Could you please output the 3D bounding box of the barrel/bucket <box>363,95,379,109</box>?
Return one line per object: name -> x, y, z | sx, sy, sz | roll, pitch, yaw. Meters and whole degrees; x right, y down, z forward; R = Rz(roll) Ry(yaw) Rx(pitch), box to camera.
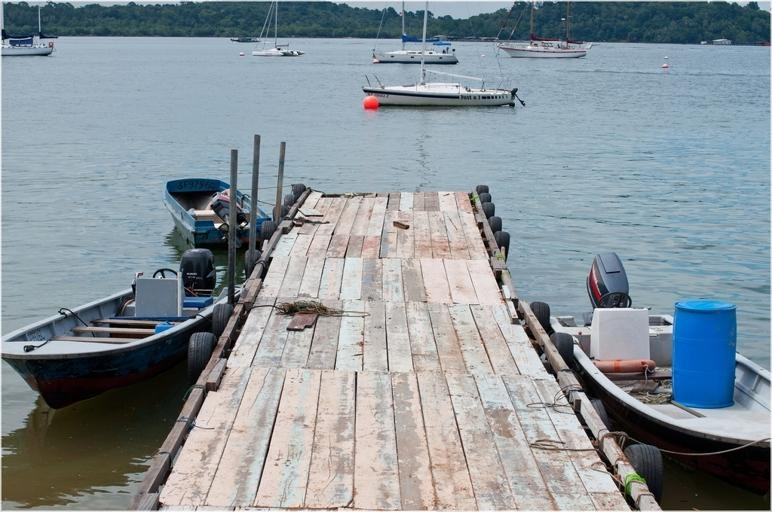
barrel/bucket -> -0.979, -9.557, 58.587 | 0.942, 0.795, 1.072 | -1, 17, 0
